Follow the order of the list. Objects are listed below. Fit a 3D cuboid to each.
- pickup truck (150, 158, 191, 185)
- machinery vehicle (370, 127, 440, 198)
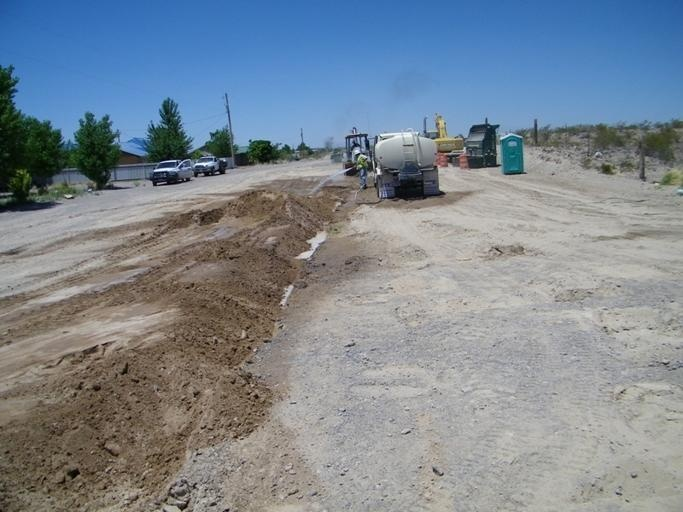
[{"bbox_3d":[-12.984,-6.583,37.356,1.681,1.107,3.426,0,10,6],"label":"pickup truck"},{"bbox_3d":[2.814,-3.725,19.983,3.024,2.242,4.873,-2,20,3],"label":"machinery vehicle"}]
